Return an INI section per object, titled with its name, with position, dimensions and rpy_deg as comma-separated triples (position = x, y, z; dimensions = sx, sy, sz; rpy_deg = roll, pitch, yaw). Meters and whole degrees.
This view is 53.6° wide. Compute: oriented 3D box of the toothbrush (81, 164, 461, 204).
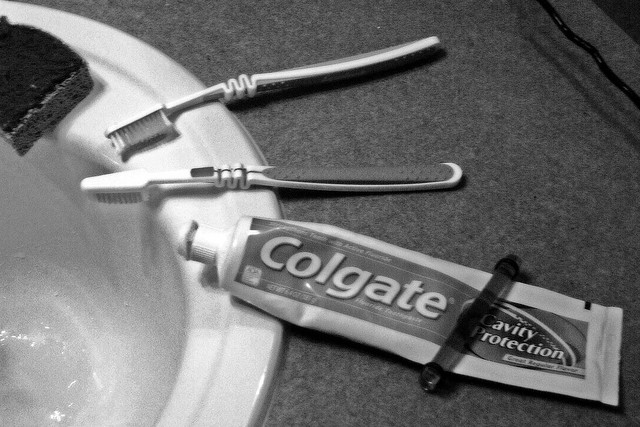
[toothbrush]
position = -0.052, -0.040, 0.791
dimensions = 0.460, 0.099, 0.033
rpy_deg = -5, 73, 3
